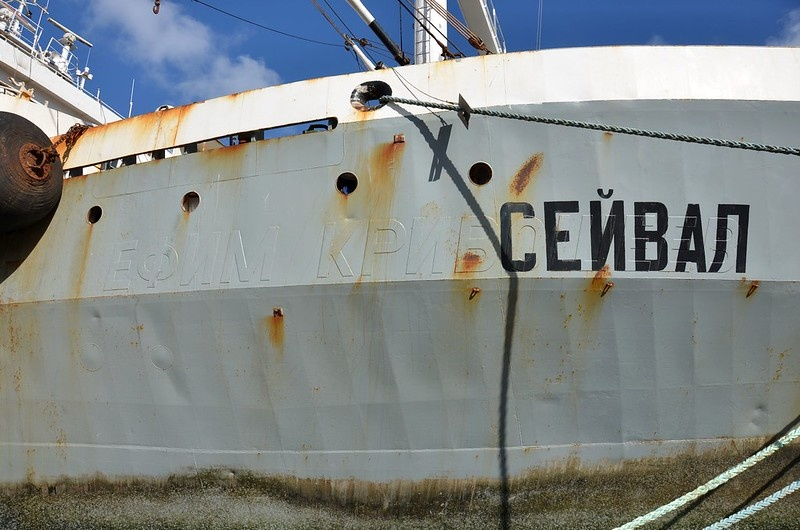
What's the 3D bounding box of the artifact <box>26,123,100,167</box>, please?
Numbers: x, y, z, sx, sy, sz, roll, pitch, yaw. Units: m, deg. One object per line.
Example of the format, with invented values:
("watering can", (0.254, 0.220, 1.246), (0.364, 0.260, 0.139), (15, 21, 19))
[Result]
("artifact", (-5.579, -1.972, 18.601), (0.151, 0.403, 1.319), (-15, 27, 48))
